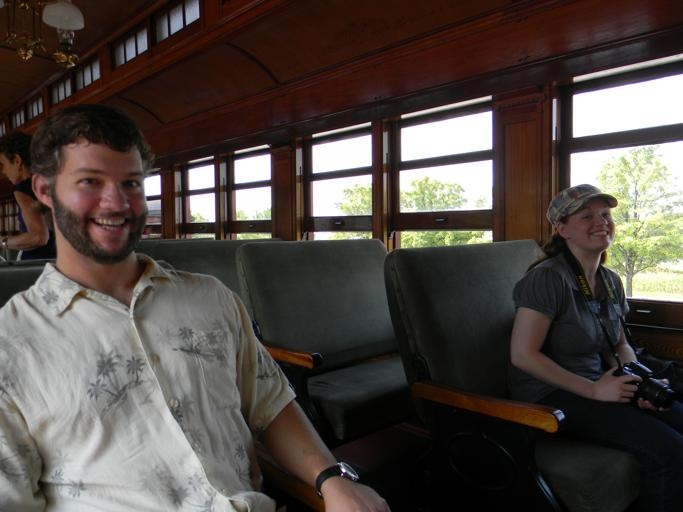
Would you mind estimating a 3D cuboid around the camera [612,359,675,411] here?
[{"bbox_3d":[1.202,0.537,2.011,0.162,0.096,0.160,-5,31,-36],"label":"camera"}]

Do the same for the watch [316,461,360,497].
[{"bbox_3d":[-0.017,0.636,1.465,0.106,0.108,0.064,-15,41,-44],"label":"watch"}]
